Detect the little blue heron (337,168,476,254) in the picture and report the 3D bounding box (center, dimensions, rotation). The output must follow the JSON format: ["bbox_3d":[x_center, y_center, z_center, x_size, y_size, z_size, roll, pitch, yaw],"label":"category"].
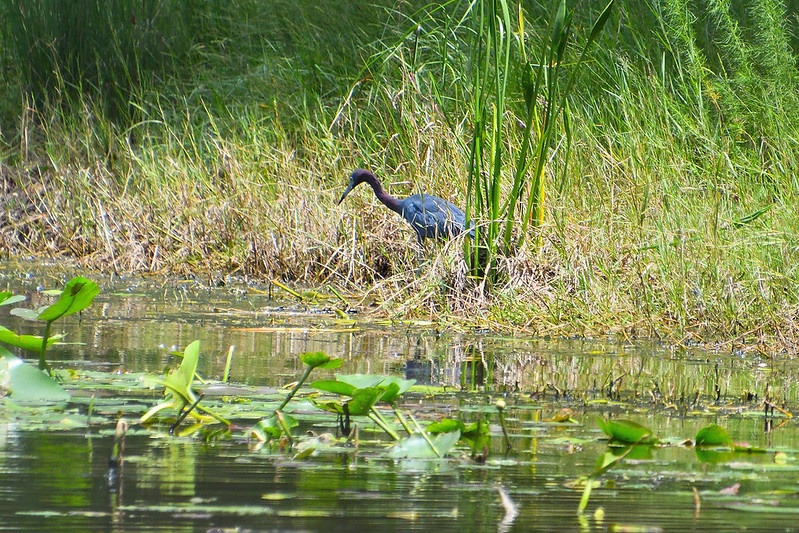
[{"bbox_3d":[0.079,-0.447,8.398,1.123,0.732,0.384,4,27,24],"label":"little blue heron"}]
